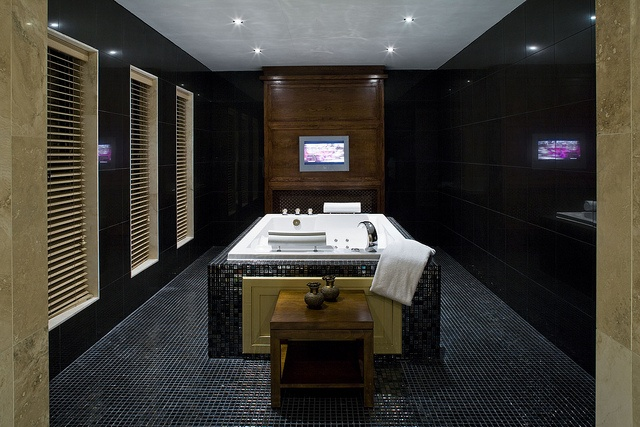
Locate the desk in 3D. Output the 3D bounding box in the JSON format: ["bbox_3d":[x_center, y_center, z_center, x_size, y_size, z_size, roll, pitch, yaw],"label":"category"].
[{"bbox_3d":[0.003,1.047,3.102,0.726,0.577,0.796,1,-6,-7],"label":"desk"}]
